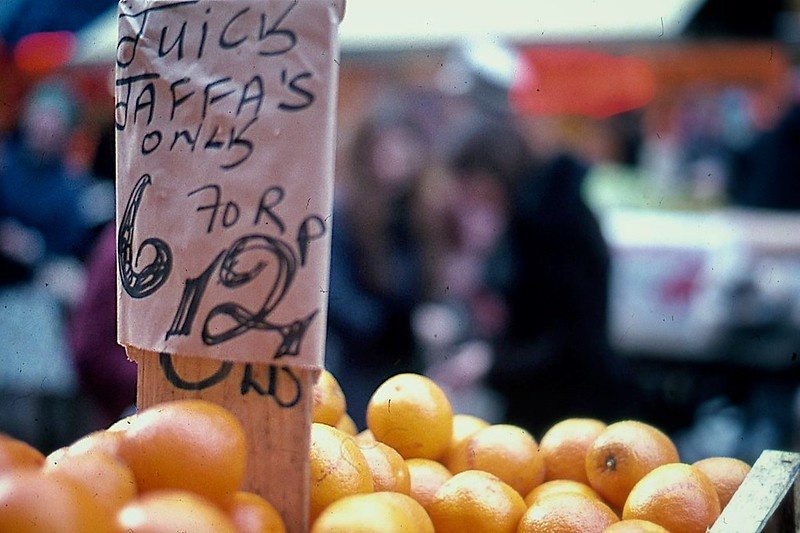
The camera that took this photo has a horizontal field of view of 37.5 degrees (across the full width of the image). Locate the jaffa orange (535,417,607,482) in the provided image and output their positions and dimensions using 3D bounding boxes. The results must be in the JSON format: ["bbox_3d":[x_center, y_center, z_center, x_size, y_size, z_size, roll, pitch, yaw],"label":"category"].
[{"bbox_3d":[0.612,0.678,4.461,0.245,0.227,0.212,8,-7,-27],"label":"jaffa orange"}]
